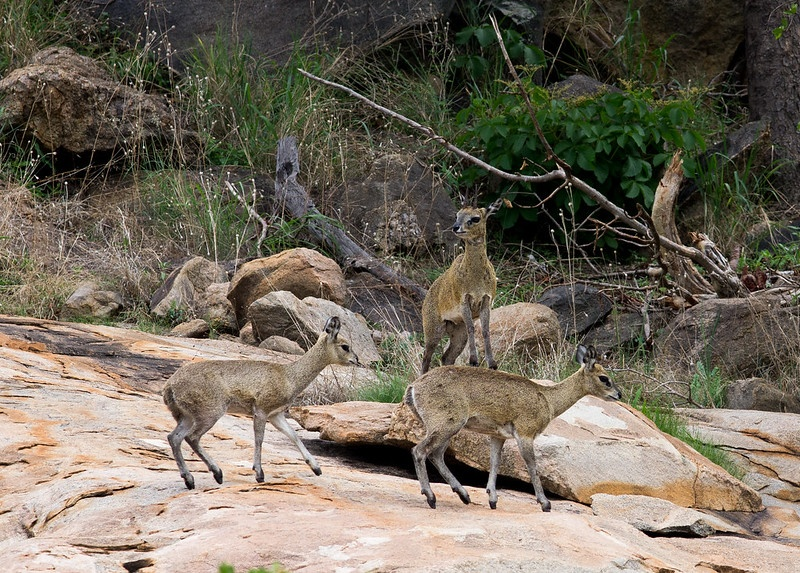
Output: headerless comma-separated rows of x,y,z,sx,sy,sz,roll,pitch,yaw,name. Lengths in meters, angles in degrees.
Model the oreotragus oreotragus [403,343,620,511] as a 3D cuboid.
0.929,1.225,8.773,1.766,1.283,0.604,-1,14,-20,oreotragus oreotragus
